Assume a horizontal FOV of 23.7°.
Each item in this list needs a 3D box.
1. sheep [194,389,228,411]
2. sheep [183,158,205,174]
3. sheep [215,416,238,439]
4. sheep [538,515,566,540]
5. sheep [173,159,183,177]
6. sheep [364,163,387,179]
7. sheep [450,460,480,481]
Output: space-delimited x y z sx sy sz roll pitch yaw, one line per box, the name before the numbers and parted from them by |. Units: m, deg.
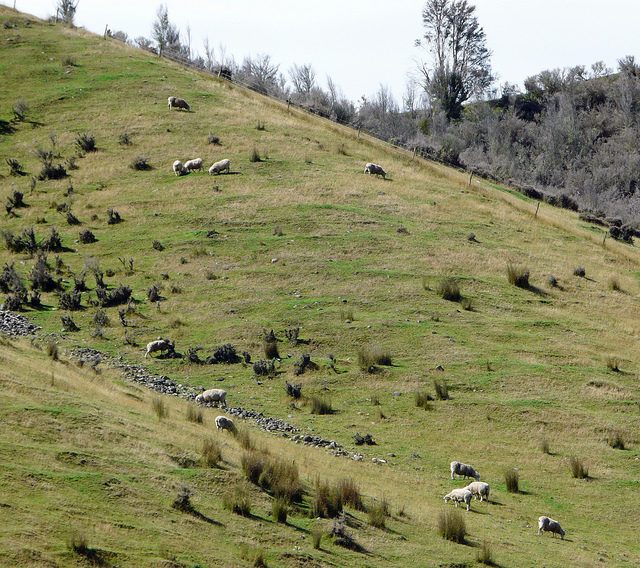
sheep | -4.679 4.906 65.723 1.328 1.047 0.685 2 1 8
sheep | -6.928 -6.528 82.897 1.053 0.906 0.957 2 3 -6
sheep | -3.871 5.852 62.985 0.919 0.773 0.670 2 3 -5
sheep | 9.260 9.735 61.115 1.057 0.833 0.541 3 3 6
sheep | -7.696 -6.382 82.496 0.485 0.831 1.020 2 3 -5
sheep | 3.002 -6.405 84.665 1.126 0.771 0.718 2 3 2
sheep | 6.039 7.768 63.720 1.185 0.733 0.581 2 3 3
